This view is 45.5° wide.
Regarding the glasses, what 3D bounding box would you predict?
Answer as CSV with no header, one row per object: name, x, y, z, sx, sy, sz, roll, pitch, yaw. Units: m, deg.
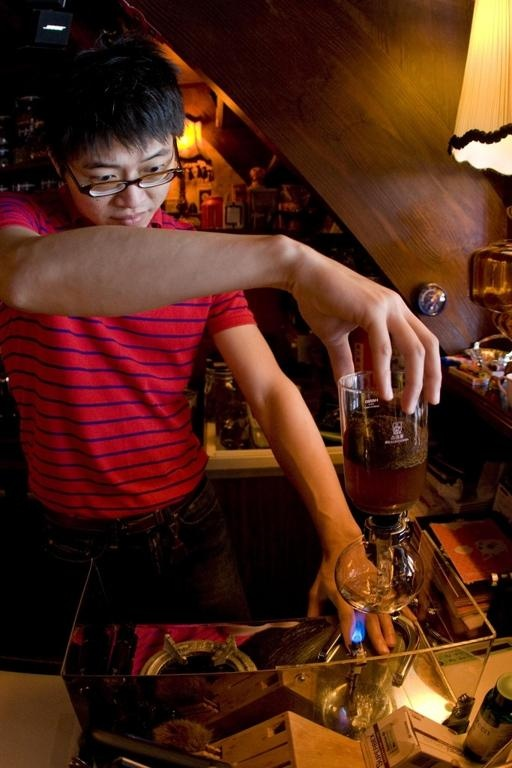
glasses,-0.242,-0.388,1.156,0.215,0.060,0.083,-7,24,-13

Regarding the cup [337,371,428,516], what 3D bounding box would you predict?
cup,0.165,0.077,0.808,0.105,0.177,0.135,-6,24,-8
